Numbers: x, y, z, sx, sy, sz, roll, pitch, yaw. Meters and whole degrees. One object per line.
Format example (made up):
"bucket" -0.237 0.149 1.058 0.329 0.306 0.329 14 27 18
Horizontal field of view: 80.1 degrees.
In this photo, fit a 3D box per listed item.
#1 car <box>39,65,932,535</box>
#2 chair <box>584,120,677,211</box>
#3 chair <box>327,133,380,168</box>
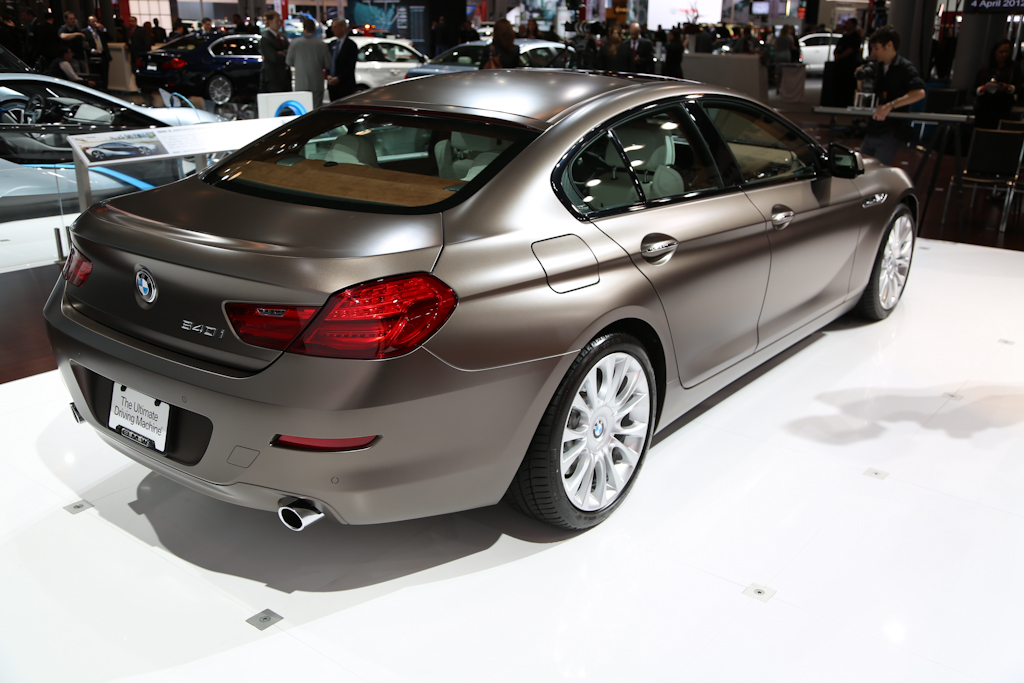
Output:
"car" 0.428 -0.383 3.021 3.959 1.135 1.847 -21 32 -40
"chair" 0.476 -0.733 2.549 0.410 0.430 0.553 1 11 9
"chair" -0.702 -0.858 2.748 0.185 0.166 0.173 6 1 10
